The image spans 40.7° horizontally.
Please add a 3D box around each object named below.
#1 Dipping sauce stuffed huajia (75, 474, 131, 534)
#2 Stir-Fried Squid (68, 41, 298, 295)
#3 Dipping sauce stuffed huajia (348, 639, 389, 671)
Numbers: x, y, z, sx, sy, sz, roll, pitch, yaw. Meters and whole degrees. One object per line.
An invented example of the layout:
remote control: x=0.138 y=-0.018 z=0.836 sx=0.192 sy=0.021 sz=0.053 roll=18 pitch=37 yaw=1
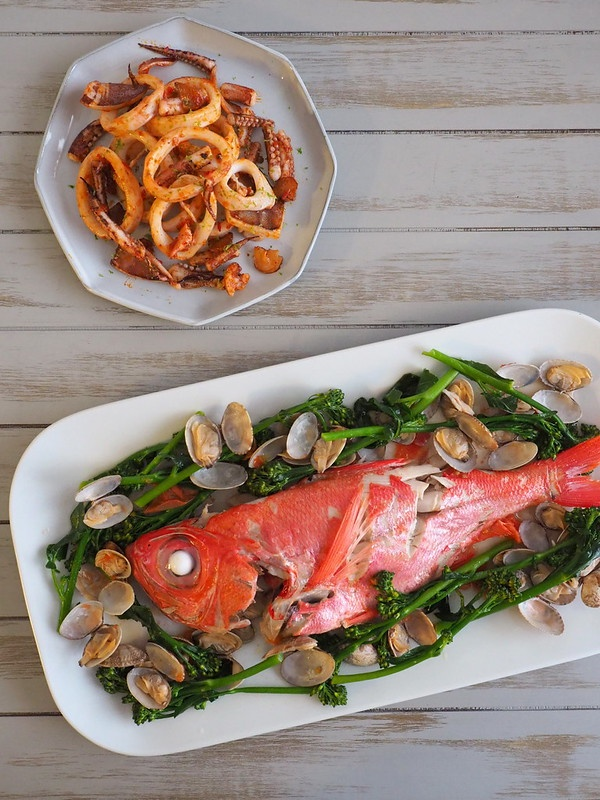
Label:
Dipping sauce stuffed huajia: x=-0.370 y=0.192 z=1.532 sx=0.091 sy=0.050 sz=0.093 roll=-16 pitch=67 yaw=-8
Stir-Fried Squid: x=-0.243 y=-0.415 z=1.638 sx=0.539 sy=0.174 sz=0.457 roll=-6 pitch=92 yaw=-5
Dipping sauce stuffed huajia: x=0.127 y=0.500 z=1.567 sx=0.086 sy=0.026 sz=0.047 roll=-2 pitch=103 yaw=1
